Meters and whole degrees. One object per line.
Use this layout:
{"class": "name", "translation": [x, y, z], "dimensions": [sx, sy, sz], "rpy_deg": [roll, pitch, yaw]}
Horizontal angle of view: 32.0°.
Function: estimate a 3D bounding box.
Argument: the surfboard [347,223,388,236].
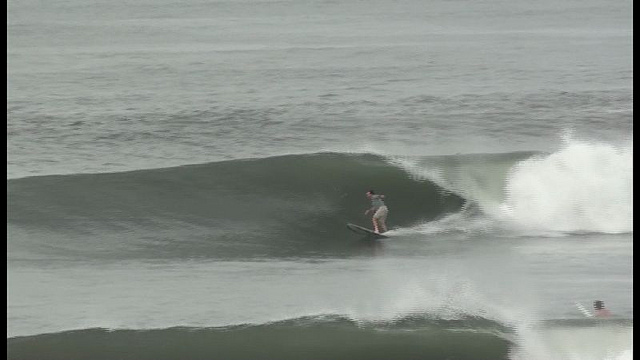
{"class": "surfboard", "translation": [2.700, 2.868, 64.039], "dimensions": [3.082, 0.273, 0.273], "rpy_deg": [10, 109, 14]}
